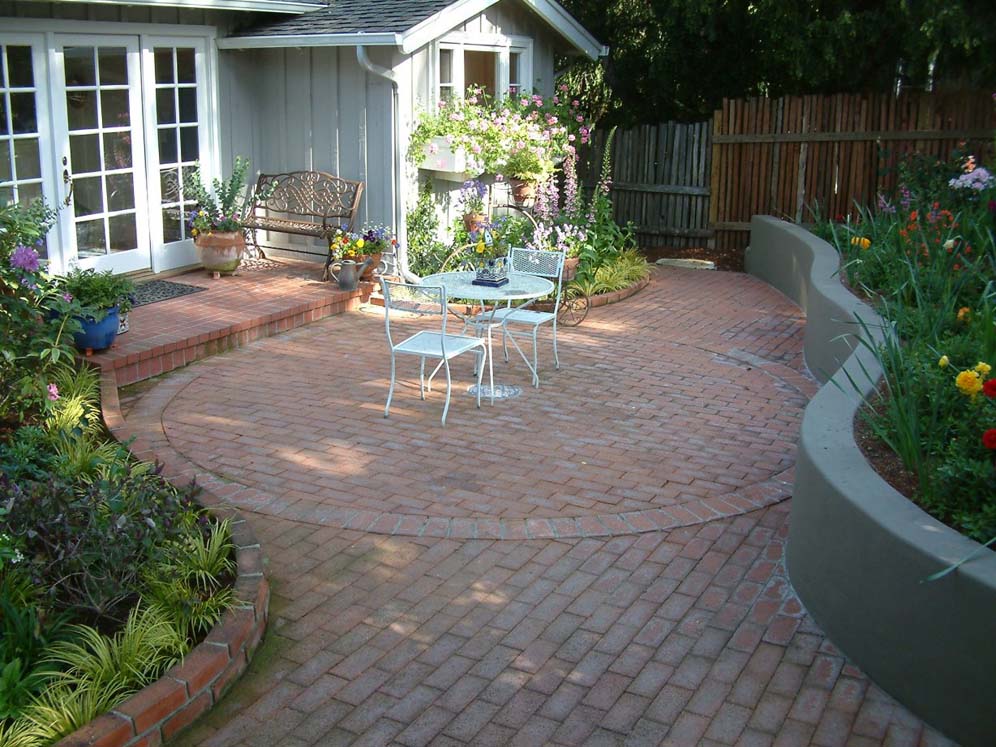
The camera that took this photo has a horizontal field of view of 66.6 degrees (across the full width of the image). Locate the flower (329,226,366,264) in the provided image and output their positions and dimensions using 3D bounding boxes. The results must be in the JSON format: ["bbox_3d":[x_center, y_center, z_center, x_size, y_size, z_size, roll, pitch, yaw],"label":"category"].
[{"bbox_3d":[-1.939,-1.649,9.804,0.445,0.246,0.442,-2,-2,14],"label":"flower"}]

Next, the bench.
[{"bbox_3d":[-2.851,-2.143,10.702,0.710,1.205,1.706,5,8,37],"label":"bench"}]

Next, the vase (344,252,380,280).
[{"bbox_3d":[-1.727,-1.371,9.760,0.364,0.266,0.365,5,15,24],"label":"vase"}]

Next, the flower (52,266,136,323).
[{"bbox_3d":[-3.608,-0.717,6.790,0.558,0.378,0.515,2,16,8],"label":"flower"}]

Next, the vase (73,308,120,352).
[{"bbox_3d":[-3.627,-0.400,6.913,0.380,0.321,0.402,-1,5,-7],"label":"vase"}]

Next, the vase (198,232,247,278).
[{"bbox_3d":[-3.521,-1.492,9.723,0.579,0.518,0.580,0,8,0],"label":"vase"}]

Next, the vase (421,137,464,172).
[{"bbox_3d":[-0.763,-2.949,10.405,0.658,0.411,0.459,2,49,3],"label":"vase"}]

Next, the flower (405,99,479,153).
[{"bbox_3d":[-0.742,-3.415,10.722,0.779,0.312,0.936,-4,50,9],"label":"flower"}]

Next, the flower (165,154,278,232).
[{"bbox_3d":[-3.740,-2.231,10.151,1.205,0.859,1.108,0,3,6],"label":"flower"}]

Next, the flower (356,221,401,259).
[{"bbox_3d":[-1.551,-1.714,9.885,0.516,0.431,0.466,5,12,14],"label":"flower"}]
